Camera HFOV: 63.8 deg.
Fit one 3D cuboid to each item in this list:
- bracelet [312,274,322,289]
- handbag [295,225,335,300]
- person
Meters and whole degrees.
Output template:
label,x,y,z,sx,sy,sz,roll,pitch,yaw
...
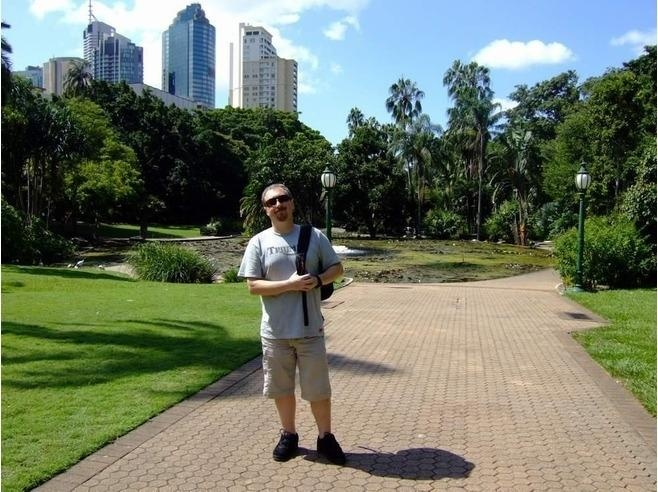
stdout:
label,x,y,z,sx,sy,sz,roll,pitch,yaw
bracelet,-0.101,0.347,5.136,0.083,0.125,0.168,2,6,-1
handbag,-0.024,0.130,5.189,0.397,0.696,0.675,2,-18,16
person,-0.359,0.740,5.225,1.010,2.680,0.574,2,6,0
